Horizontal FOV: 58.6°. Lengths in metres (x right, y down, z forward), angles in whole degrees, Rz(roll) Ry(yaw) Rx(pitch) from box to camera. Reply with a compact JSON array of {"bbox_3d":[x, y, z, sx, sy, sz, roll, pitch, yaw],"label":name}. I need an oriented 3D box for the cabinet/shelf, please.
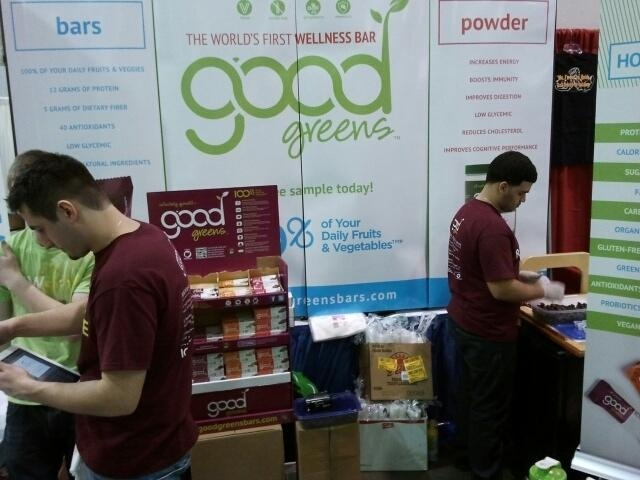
[{"bbox_3d":[-0.507,0.557,3.464,0.673,0.796,0.261,-2,2,-13],"label":"cabinet/shelf"}]
